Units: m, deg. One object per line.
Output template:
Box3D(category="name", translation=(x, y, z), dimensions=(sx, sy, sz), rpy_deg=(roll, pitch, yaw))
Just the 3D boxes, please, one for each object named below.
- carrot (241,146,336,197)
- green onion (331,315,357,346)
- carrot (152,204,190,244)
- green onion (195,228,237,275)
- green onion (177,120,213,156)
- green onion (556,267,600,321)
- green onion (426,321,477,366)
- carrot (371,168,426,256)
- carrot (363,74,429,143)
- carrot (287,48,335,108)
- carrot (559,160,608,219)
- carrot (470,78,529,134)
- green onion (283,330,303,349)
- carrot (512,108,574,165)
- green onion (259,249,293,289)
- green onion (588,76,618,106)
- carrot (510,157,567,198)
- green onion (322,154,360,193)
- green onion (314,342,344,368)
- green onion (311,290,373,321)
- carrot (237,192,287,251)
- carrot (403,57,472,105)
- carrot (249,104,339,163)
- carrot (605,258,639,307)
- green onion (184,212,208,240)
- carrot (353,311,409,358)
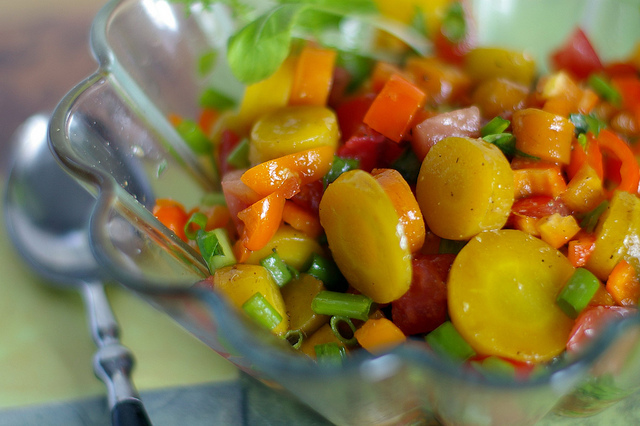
Box3D(category="carrot", translation=(-0.074, -0.108, 1.694), dimensions=(0.259, 0.096, 0.104), rpy_deg=(-26, 23, -20))
Box3D(category="green onion", translation=(0.053, 0.278, 1.555), dimensions=(0.051, 0.028, 0.073), rpy_deg=(-20, 70, -34))
Box3D(category="carrot", translation=(-0.407, 0.021, 1.778), dimensions=(0.113, 0.067, 0.102), rpy_deg=(7, 30, 1))
Box3D(category="green onion", translation=(-0.265, 0.098, 1.643), dimensions=(0.076, 0.128, 0.087), rpy_deg=(-10, 20, -33))
Box3D(category="green onion", translation=(-0.389, -0.233, 1.990), dimensions=(0.103, 0.105, 0.034), rpy_deg=(-1, 30, -12))
Box3D(category="green onion", translation=(0.596, 0.192, 1.485), dimensions=(0.085, 0.093, 0.060), rpy_deg=(-22, 40, -39))
Box3D(category="green onion", translation=(0.302, 0.303, 1.477), dimensions=(0.062, 0.050, 0.114), rpy_deg=(-23, 42, -40))
Box3D(category="carrot", translation=(0.185, 0.005, 1.518), dimensions=(0.056, 0.167, 0.162), rpy_deg=(-27, 23, -7))
Box3D(category="carrot", translation=(0.205, -0.281, 1.729), dimensions=(0.143, 0.150, 0.107), rpy_deg=(17, 32, 18))
Box3D(category="carrot", translation=(-0.025, -0.384, 1.825), dimensions=(0.110, 0.141, 0.113), rpy_deg=(10, 30, 7))
Box3D(category="carrot", translation=(0.679, -0.054, 1.632), dimensions=(0.126, 0.128, 0.050), rpy_deg=(-42, 15, -19))
Box3D(category="carrot", translation=(0.498, -0.291, 1.764), dimensions=(0.121, 0.122, 0.125), rpy_deg=(27, 8, -20))
Box3D(category="green onion", translation=(-0.059, 0.315, 1.557), dimensions=(0.036, 0.017, 0.046), rpy_deg=(-19, 75, -17))
Box3D(category="carrot", translation=(0.602, -0.210, 1.707), dimensions=(0.169, 0.116, 0.167), rpy_deg=(-5, 18, -32))
Box3D(category="green onion", translation=(-0.109, 0.143, 1.621), dimensions=(0.079, 0.082, 0.025), rpy_deg=(-40, 12, -37))
Box3D(category="green onion", translation=(0.844, -0.364, 1.893), dimensions=(0.056, 0.024, 0.093), rpy_deg=(-24, 70, -41))
Box3D(category="carrot", translation=(0.552, -0.088, 1.639), dimensions=(0.123, 0.086, 0.066), rpy_deg=(10, 30, 7))
Box3D(category="green onion", translation=(0.056, -0.111, 1.704), dimensions=(0.053, 0.108, 0.081), rpy_deg=(2, 9, 42))
Box3D(category="green onion", translation=(0.023, 0.331, 1.482), dimensions=(0.063, 0.035, 0.085), rpy_deg=(-1, 31, -12))
Box3D(category="green onion", translation=(0.050, 0.235, 1.570), dimensions=(0.133, 0.061, 0.077), rpy_deg=(8, 25, 0))
Box3D(category="carrot", translation=(-0.154, 0.007, 1.656), dimensions=(0.055, 0.109, 0.148), rpy_deg=(16, 73, 45))
Box3D(category="carrot", translation=(0.355, -0.400, 1.913), dimensions=(0.189, 0.142, 0.146), rpy_deg=(38, 32, 27))
Box3D(category="carrot", translation=(-0.081, -0.243, 1.762), dimensions=(0.176, 0.075, 0.185), rpy_deg=(-7, 36, -3))
Box3D(category="carrot", translation=(0.737, 0.170, 1.540), dimensions=(0.073, 0.084, 0.071), rpy_deg=(21, 33, 25))
Box3D(category="green onion", translation=(-0.328, 0.027, 1.745), dimensions=(0.054, 0.027, 0.075), rpy_deg=(-23, 38, 50))
Box3D(category="carrot", translation=(0.139, 0.291, 1.489), dimensions=(0.110, 0.064, 0.083), rpy_deg=(31, 38, 35))
